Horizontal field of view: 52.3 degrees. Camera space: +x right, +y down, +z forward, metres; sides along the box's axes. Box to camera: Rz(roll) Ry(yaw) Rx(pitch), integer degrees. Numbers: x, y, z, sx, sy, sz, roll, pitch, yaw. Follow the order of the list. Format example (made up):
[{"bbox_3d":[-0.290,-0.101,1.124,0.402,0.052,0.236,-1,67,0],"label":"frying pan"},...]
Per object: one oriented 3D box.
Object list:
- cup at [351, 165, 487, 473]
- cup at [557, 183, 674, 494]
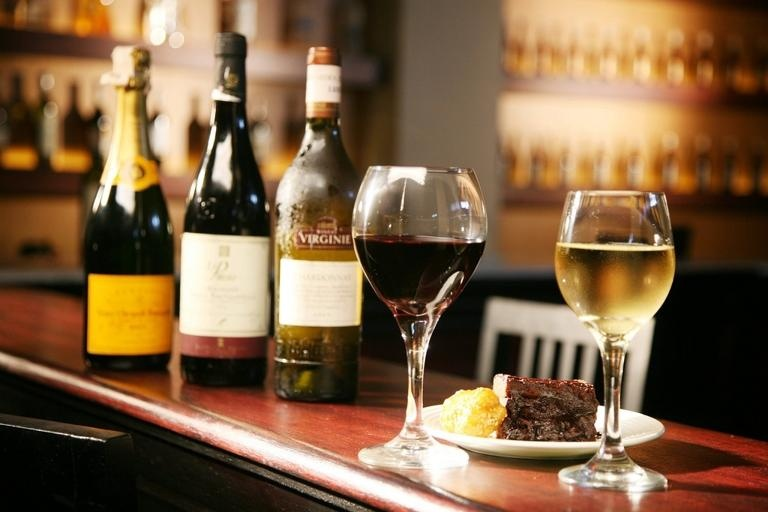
[{"bbox_3d":[0.039,0.060,0.889,0.154,0.324,0.157,3,5,0],"label":"cup"},{"bbox_3d":[0.246,0.080,0.862,0.127,0.305,0.174,3,5,0],"label":"cup"}]
